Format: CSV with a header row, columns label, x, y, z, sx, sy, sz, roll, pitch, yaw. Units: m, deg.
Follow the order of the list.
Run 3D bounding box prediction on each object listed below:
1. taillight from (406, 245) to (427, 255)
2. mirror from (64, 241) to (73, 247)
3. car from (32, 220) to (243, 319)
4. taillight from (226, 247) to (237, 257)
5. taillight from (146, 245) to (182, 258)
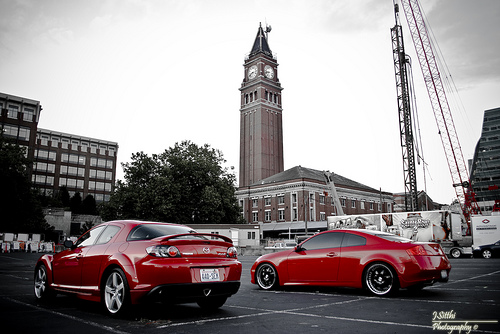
label,x,y,z,sx,sy,sz,roll,pitch,yaw
taillight,4.552,2.275,10.025,0.269,0.146,0.409,9,-11,-25
mirror,-4.446,1.884,8.979,0.163,0.102,0.151,-1,-4,-36
car,-2.736,2.267,8.506,4.383,1.982,1.521,-1,-4,24
taillight,-0.416,2.028,8.718,0.174,0.273,0.701,1,-4,8
taillight,-1.818,1.777,7.688,0.486,0.163,0.336,-1,-6,10
